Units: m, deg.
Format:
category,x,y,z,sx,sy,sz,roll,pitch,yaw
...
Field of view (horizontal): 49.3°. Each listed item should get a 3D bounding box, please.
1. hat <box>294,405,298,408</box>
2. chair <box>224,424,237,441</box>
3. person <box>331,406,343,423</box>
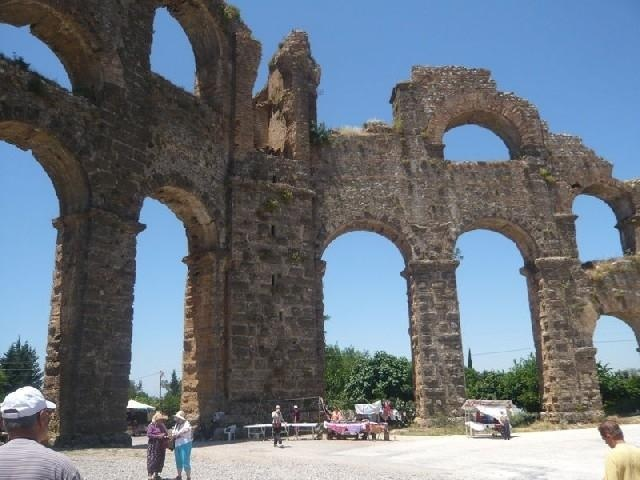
category,x,y,z,sx,sy,sz,roll,pitch,yaw
hat,-0.957,6.368,26.645,0.146,0.076,0.233,0,-11,3
chair,-3.291,7.015,25.443,0.365,0.673,0.457,-14,-31,26
person,0.612,6.813,26.947,0.404,0.713,0.440,-1,-42,1
